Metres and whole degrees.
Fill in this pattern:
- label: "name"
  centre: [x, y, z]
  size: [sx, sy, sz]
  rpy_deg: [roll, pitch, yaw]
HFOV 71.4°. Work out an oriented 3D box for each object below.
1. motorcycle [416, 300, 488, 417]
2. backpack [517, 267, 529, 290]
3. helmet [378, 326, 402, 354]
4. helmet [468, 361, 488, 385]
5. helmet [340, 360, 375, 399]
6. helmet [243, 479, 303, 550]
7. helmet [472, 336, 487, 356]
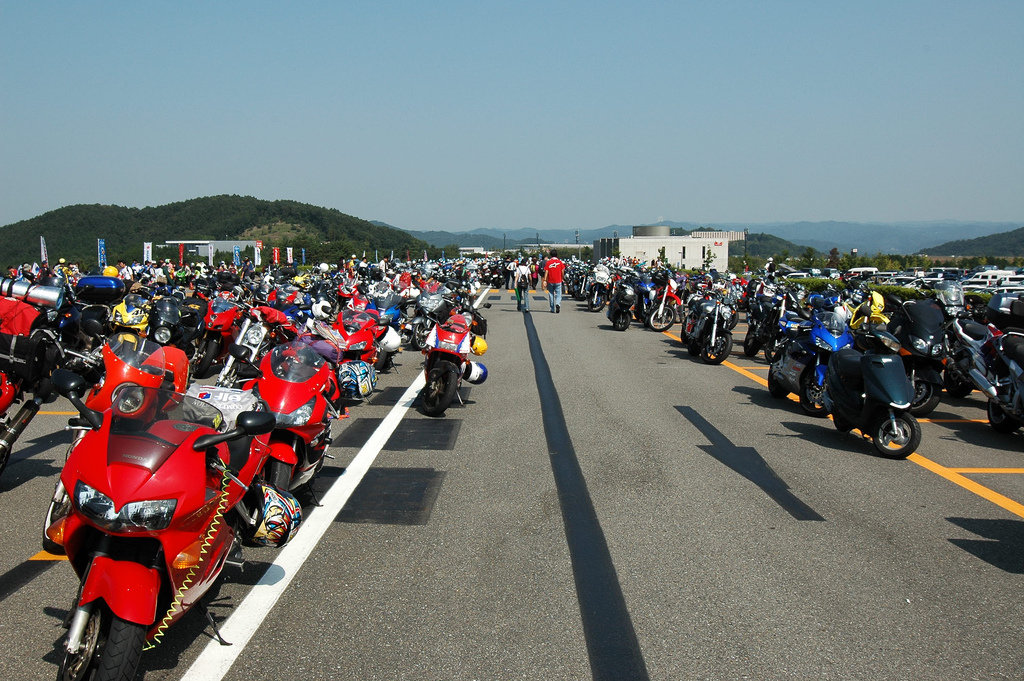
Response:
- label: "motorcycle"
  centre: [-0.970, 0.361, 11.851]
  size: [1.041, 1.584, 1.512]
  rpy_deg: [0, 12, -1]
- label: "backpack"
  centre: [0.467, -2.586, 29.339]
  size: [0.474, 0.912, 0.512]
  rpy_deg: [-1, 12, -7]
- label: "helmet"
  centre: [-2.363, 0.029, 13.764]
  size: [0.239, 0.547, 0.291]
  rpy_deg: [0, 16, 1]
- label: "helmet"
  centre: [-0.653, 0.522, 11.803]
  size: [0.279, 0.390, 0.375]
  rpy_deg: [4, 10, 43]
- label: "helmet"
  centre: [-2.439, 0.597, 11.170]
  size: [0.426, 0.601, 0.260]
  rpy_deg: [2, -2, -27]
- label: "helmet"
  centre: [-2.000, 1.461, 6.065]
  size: [0.548, 0.519, 0.438]
  rpy_deg: [-3, 2, 6]
- label: "helmet"
  centre: [-0.534, 0.080, 11.698]
  size: [0.247, 0.241, 0.311]
  rpy_deg: [-4, -16, 23]
